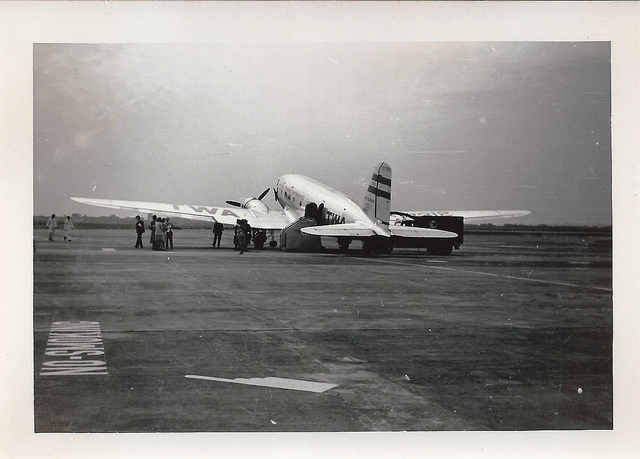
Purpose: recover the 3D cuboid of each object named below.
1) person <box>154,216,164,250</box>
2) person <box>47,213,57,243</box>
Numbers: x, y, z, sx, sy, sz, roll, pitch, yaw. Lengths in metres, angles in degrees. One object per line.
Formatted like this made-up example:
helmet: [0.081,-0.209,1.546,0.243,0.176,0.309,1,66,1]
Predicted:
person: [-6.474,0.202,30.372,0.375,1.263,0.666,-1,9,-13]
person: [-11.818,-0.034,33.275,0.350,1.295,1.709,-2,10,-19]
